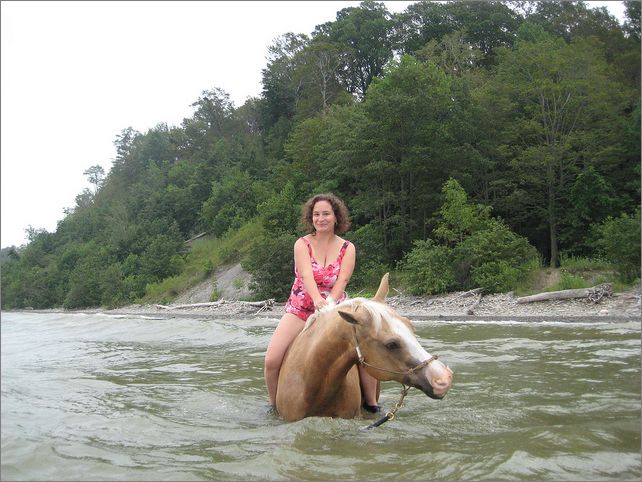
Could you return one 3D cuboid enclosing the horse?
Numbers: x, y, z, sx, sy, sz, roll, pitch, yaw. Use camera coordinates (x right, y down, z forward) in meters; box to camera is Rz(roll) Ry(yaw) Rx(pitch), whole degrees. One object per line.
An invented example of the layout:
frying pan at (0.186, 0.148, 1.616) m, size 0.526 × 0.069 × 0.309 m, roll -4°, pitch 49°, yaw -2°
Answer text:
horse at (0.494, 1.592, 7.731) m, size 0.961 × 2.134 × 2.726 m, roll 4°, pitch -9°, yaw -45°
